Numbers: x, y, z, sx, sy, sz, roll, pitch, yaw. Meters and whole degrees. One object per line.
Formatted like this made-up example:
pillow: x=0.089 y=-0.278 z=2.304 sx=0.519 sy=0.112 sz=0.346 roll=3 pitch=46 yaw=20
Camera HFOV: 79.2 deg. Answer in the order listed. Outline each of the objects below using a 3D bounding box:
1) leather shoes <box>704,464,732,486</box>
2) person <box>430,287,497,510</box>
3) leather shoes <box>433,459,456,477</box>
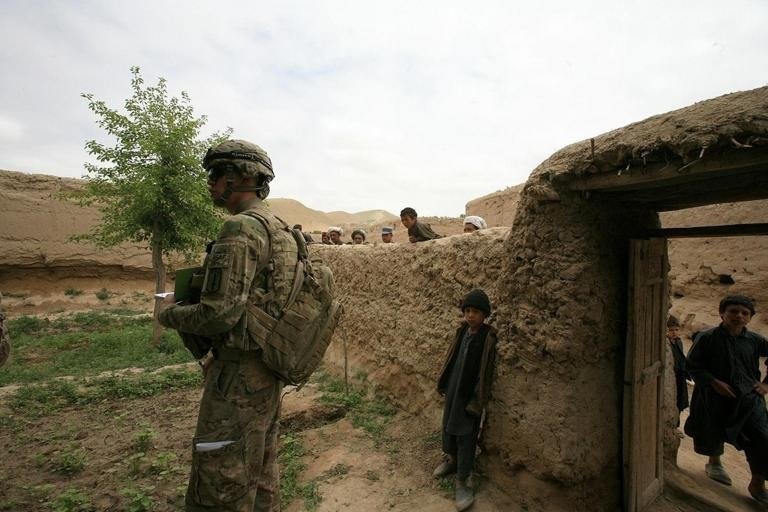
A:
leather shoes: x=4.687 y=3.071 z=6.509 sx=0.183 sy=0.148 sz=0.379 roll=-5 pitch=-16 yaw=10
person: x=0.959 y=1.672 z=5.677 sx=0.534 sy=2.572 sz=0.646 roll=2 pitch=0 yaw=-33
leather shoes: x=0.750 y=2.649 z=5.805 sx=0.321 sy=0.118 sz=0.153 roll=-5 pitch=0 yaw=-21
